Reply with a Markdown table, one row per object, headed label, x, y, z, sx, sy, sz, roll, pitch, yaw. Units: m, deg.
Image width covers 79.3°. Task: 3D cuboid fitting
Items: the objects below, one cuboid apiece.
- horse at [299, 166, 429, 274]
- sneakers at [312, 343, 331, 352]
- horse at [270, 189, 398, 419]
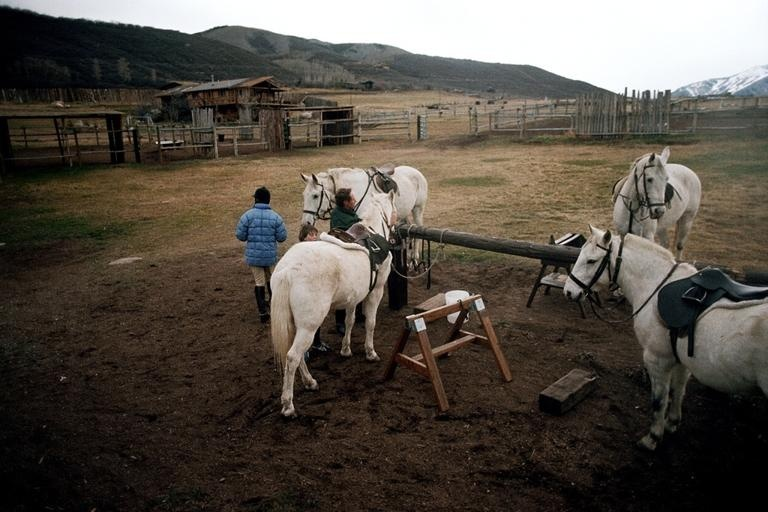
| label | x | y | z | sx | sy | sz | roll | pitch | yaw |
| --- | --- | --- | --- | --- | --- | --- | --- | --- | --- |
| horse | -0.216 | -0.895 | 10.854 | 1.207 | 2.529 | 4.122 | 11 | 20 | 39 |
| sneakers | -1.095 | 1.591 | 7.967 | 0.325 | 0.134 | 0.123 | 0 | 26 | 5 |
| horse | -0.760 | 0.875 | 7.404 | 1.119 | 2.955 | 3.296 | 8 | 14 | 32 |
